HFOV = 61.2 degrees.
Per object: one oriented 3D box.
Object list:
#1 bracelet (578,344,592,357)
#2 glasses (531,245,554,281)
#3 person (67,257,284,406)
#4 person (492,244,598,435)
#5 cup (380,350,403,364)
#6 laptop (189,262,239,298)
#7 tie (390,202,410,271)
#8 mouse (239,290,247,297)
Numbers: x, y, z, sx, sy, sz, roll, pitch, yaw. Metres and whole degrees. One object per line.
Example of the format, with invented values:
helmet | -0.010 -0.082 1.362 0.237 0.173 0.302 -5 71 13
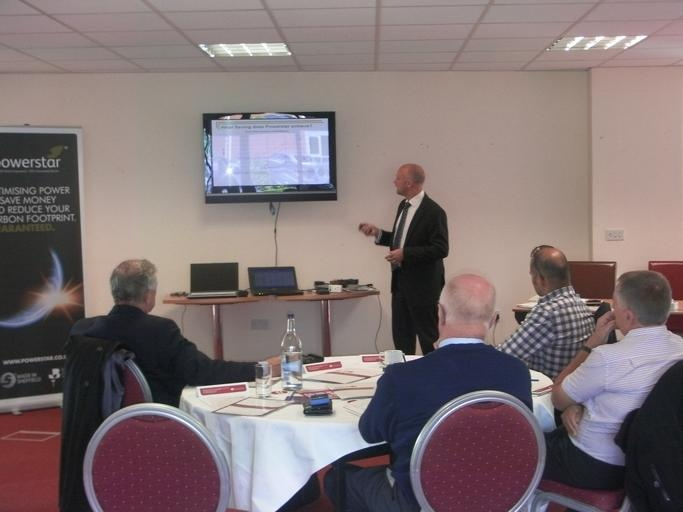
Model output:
bracelet | 1.263 0.488 2.987 0.062 0.029 0.065 1 2 -44
glasses | 1.150 0.050 3.308 0.124 0.163 0.154 3 -29 9
person | -1.208 0.469 4.095 0.824 0.757 0.457 9 22 23
person | 1.276 0.480 3.459 0.621 1.087 0.620 -16 16 -18
cup | 0.268 0.541 3.100 0.092 0.091 0.126 0 0 -18
laptop | -1.255 0.234 5.688 0.523 0.301 0.358 0 -4 -6
tie | 0.520 -0.165 5.139 0.125 0.708 0.079 11 -1 -1
mouse | -0.934 0.365 5.526 0.051 0.068 0.055 1 -1 -4
